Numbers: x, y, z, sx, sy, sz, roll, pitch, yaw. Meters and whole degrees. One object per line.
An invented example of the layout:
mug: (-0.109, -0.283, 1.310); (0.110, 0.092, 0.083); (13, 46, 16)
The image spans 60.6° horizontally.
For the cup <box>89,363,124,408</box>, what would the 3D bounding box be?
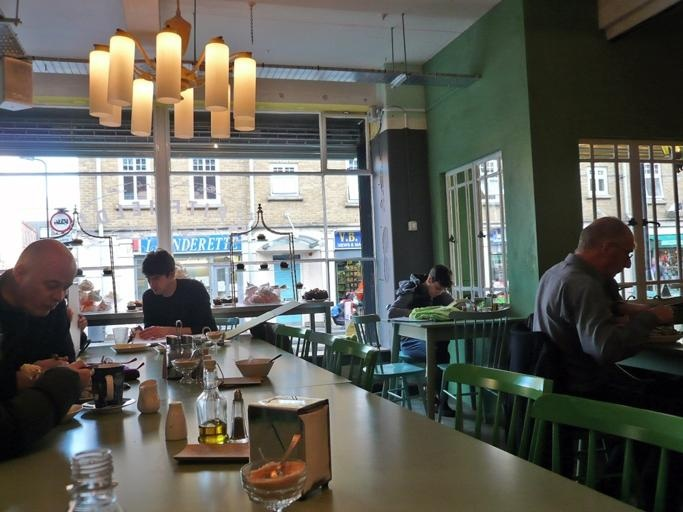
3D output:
cup: (-0.911, 0.507, 2.274); (0.110, 0.154, 0.157); (2, -2, -13)

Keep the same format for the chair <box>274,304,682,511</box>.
chair: (0.432, 1.035, 4.181); (1.372, 1.227, 1.027); (1, -4, -29)

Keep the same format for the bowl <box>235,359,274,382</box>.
bowl: (-0.386, 0.516, 2.660); (0.155, 0.085, 0.210); (-3, 1, -26)

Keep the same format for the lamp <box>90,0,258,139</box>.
lamp: (-0.921, -1.091, 3.185); (0.853, 0.703, 0.685); (-3, 1, -21)

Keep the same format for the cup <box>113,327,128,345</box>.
cup: (-1.448, 0.522, 3.803); (0.107, 0.121, 0.107); (-1, -7, 0)

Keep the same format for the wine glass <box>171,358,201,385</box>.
wine glass: (-0.710, 0.509, 2.658); (0.135, 0.100, 0.128); (2, -8, -26)

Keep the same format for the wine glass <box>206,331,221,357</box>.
wine glass: (-0.750, 0.529, 3.489); (0.141, 0.131, 0.134); (0, -6, -4)

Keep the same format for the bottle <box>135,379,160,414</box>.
bottle: (-0.736, 0.532, 2.223); (0.117, 0.156, 0.114); (0, -7, 0)
